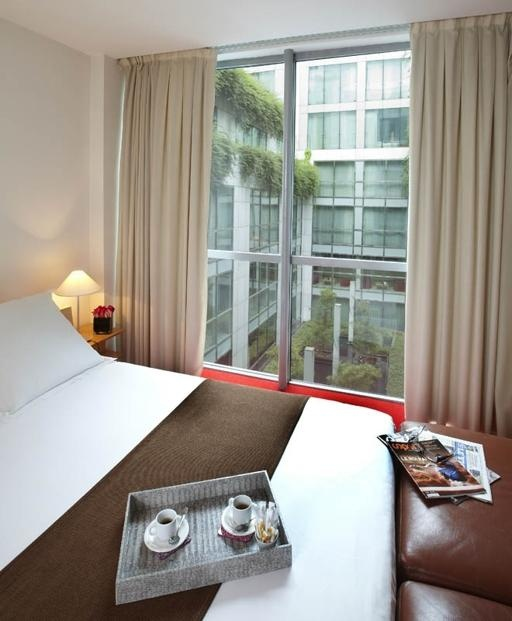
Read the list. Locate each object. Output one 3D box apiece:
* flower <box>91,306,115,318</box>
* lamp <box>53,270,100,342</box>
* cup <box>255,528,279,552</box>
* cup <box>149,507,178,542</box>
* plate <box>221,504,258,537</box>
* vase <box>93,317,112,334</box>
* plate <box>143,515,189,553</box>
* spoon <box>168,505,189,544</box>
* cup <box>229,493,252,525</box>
[{"bbox_3d":[-1.087,0.005,3.232,0.098,0.064,0.101,-5,7,10],"label":"flower"},{"bbox_3d":[-1.195,-0.063,3.079,0.257,0.511,0.281,-1,29,-23],"label":"lamp"},{"bbox_3d":[0.032,0.633,1.261,0.046,0.043,0.051,0,-1,-29],"label":"cup"},{"bbox_3d":[-0.258,0.613,1.304,0.084,0.069,0.058,0,13,15],"label":"cup"},{"bbox_3d":[-0.053,0.619,1.360,0.102,0.064,0.108,2,13,-2],"label":"plate"},{"bbox_3d":[-1.074,0.106,3.196,0.125,0.142,0.105,1,0,-9],"label":"vase"},{"bbox_3d":[-0.251,0.640,1.306,0.136,0.078,0.116,-1,14,-17],"label":"plate"},{"bbox_3d":[-0.221,0.630,1.347,0.049,0.074,0.098,0,6,2],"label":"spoon"},{"bbox_3d":[-0.044,0.599,1.368,0.050,0.079,0.084,-1,8,-13],"label":"cup"}]
